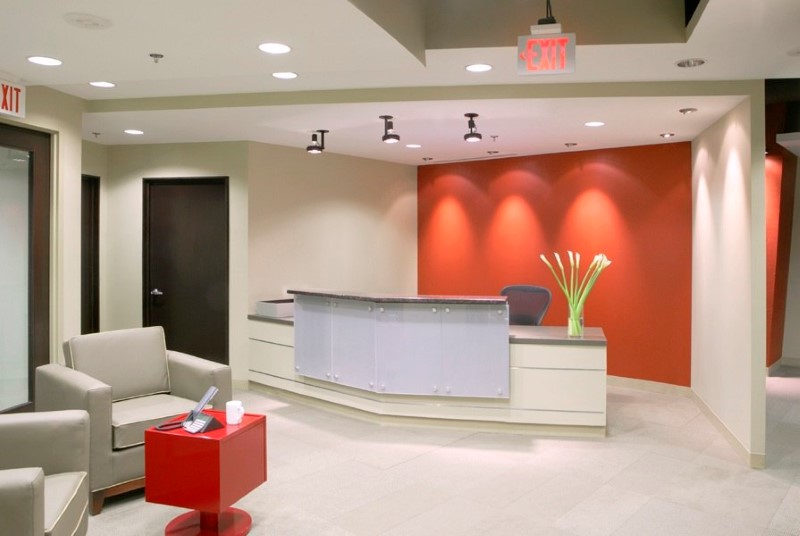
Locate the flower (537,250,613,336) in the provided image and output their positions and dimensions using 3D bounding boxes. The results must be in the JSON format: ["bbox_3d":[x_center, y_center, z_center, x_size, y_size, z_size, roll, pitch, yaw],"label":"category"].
[{"bbox_3d":[1.899,0.321,6.210,0.789,0.877,0.779,1,2,-29],"label":"flower"}]

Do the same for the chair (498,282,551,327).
[{"bbox_3d":[1.481,0.431,6.596,0.479,0.660,0.518,0,-1,18],"label":"chair"}]

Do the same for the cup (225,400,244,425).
[{"bbox_3d":[-1.241,1.095,4.303,0.121,0.165,0.187,2,-1,-31],"label":"cup"}]

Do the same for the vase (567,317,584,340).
[{"bbox_3d":[1.786,0.603,5.724,0.158,0.205,0.190,2,9,13],"label":"vase"}]
